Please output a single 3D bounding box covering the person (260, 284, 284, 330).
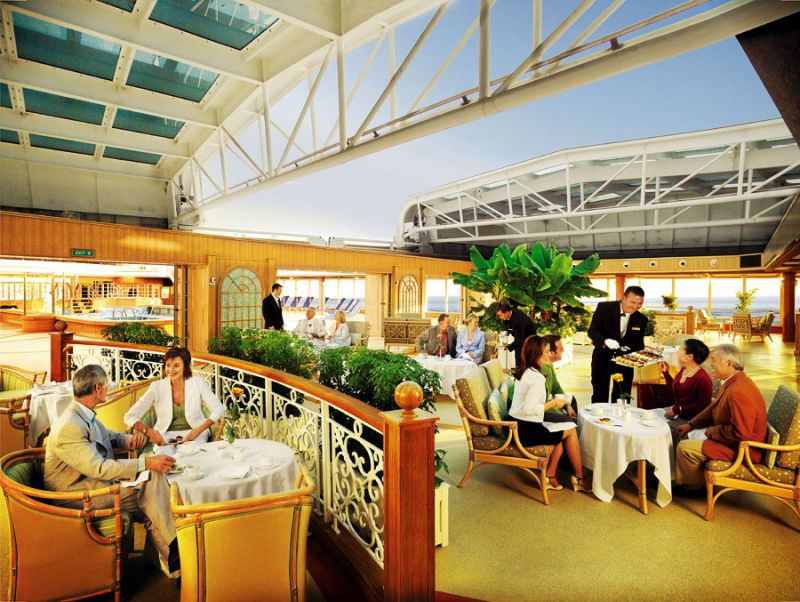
[{"bbox_3d":[-2.547,0.070,10.575,0.387,0.948,2.048,1,0,-15],"label":"person"}]

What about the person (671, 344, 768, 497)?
[{"bbox_3d":[3.439,1.292,5.685,0.827,1.665,0.569,1,0,35],"label":"person"}]

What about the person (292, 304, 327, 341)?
[{"bbox_3d":[-2.599,0.547,15.412,0.877,1.649,0.569,-3,-6,13],"label":"person"}]

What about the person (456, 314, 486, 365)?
[{"bbox_3d":[1.226,0.759,9.315,0.494,0.896,0.541,6,12,17],"label":"person"}]

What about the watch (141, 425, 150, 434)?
[{"bbox_3d":[-2.454,1.245,5.105,0.055,0.093,0.061,3,-4,-39],"label":"watch"}]

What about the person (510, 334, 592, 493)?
[{"bbox_3d":[1.658,1.304,5.984,0.929,1.707,0.721,-1,1,14],"label":"person"}]

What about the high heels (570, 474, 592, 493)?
[{"bbox_3d":[2.043,2.060,5.931,0.130,0.130,0.239,0,-13,-4],"label":"high heels"}]

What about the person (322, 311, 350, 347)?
[{"bbox_3d":[-1.251,0.548,10.921,0.543,0.702,1.240,1,0,-8],"label":"person"}]
